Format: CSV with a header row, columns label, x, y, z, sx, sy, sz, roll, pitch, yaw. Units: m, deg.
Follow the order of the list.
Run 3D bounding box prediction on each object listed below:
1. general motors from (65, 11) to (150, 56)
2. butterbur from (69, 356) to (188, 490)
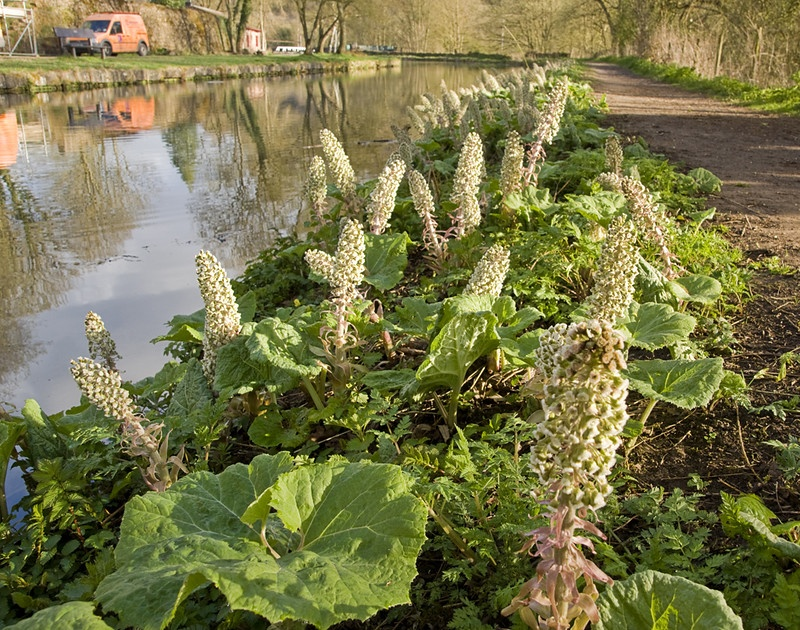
label,x,y,z,sx,sy,sz,roll,pitch,yaw
general motors,-16.893,-16.079,35.105,1.781,2.553,5.905,4,20,8
butterbur,-1.534,0.607,3.519,0.487,0.940,0.645,-8,23,-21
